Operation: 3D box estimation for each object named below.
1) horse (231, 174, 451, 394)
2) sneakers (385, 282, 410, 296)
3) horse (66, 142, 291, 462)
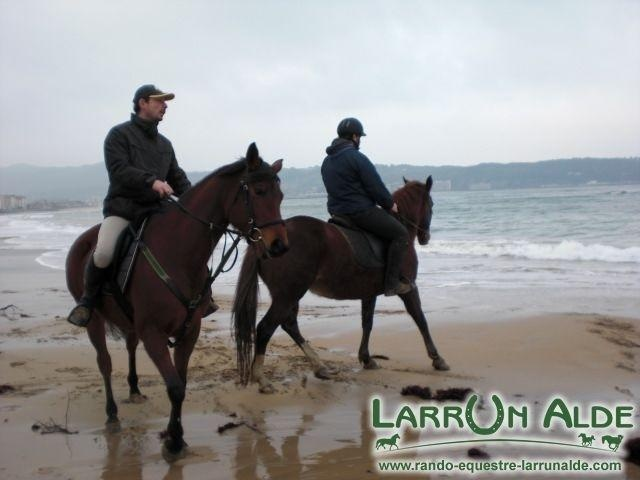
[{"bbox_3d":[0.366,0.616,8.562,3.732,2.847,0.936,-3,2,-33],"label":"horse"},{"bbox_3d":[1.176,0.743,8.683,0.487,0.217,0.160,-1,3,-39],"label":"sneakers"},{"bbox_3d":[-1.540,0.580,6.349,2.672,3.190,0.995,5,7,32],"label":"horse"}]
